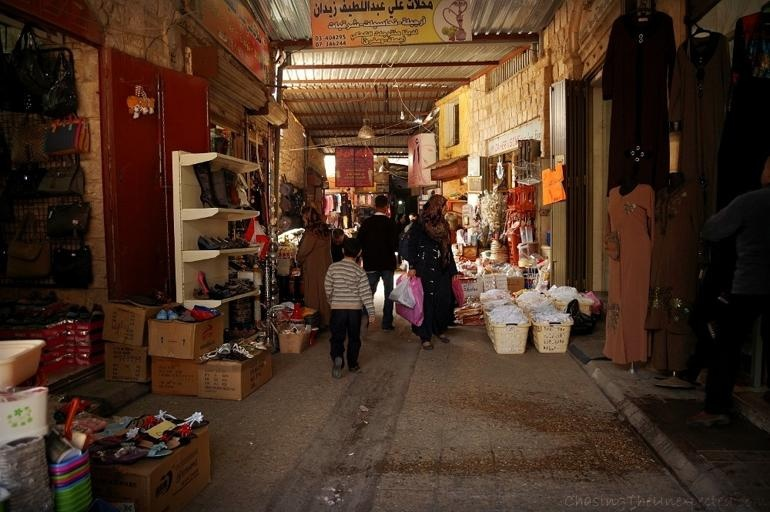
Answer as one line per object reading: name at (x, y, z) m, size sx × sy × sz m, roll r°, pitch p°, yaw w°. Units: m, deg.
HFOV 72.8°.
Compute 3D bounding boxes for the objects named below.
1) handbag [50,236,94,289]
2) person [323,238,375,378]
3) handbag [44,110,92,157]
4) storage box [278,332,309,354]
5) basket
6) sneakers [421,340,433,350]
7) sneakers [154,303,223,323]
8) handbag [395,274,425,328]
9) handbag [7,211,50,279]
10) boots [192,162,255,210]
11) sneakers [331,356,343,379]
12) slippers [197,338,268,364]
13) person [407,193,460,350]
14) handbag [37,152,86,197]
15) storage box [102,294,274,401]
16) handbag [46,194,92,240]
handbag at (-3.951, 0.092, 6.642) m, size 0.642 × 0.878 × 0.174 m, roll 0°, pitch 0°, yaw -2°
person at (-0.446, 0.689, 6.692) m, size 0.595 × 1.740 × 0.851 m, roll -2°, pitch 14°, yaw -5°
handbag at (-3.954, -1.549, 6.572) m, size 0.539 × 0.554 × 0.189 m, roll -2°, pitch -4°, yaw 11°
storage box at (-1.350, 1.260, 7.652) m, size 0.307 × 0.201 × 0.315 m, roll 0°, pitch 1°, yaw 2°
basket at (2.115, 0.928, 7.514) m, size 1.090 × 0.386 × 1.118 m, roll -1°, pitch 6°, yaw 1°
sneakers at (0.630, 1.304, 7.726) m, size 0.190 × 0.137 × 0.276 m, roll 0°, pitch 15°, yaw 3°
sneakers at (-2.299, 0.676, 6.042) m, size 0.373 × 0.128 × 0.282 m, roll -1°, pitch 1°, yaw 28°
handbag at (0.359, 0.684, 7.696) m, size 0.413 × 0.778 × 0.317 m, roll 0°, pitch 14°, yaw 5°
handbag at (-4.586, -0.139, 6.775) m, size 0.539 × 0.797 × 0.499 m, roll -4°, pitch 15°, yaw -13°
boots at (-2.179, -0.923, 6.975) m, size 0.385 × 0.699 × 0.964 m, roll 1°, pitch 15°, yaw 7°
sneakers at (-0.600, 1.397, 6.554) m, size 0.108 × 0.247 × 0.102 m, roll 2°, pitch -11°, yaw 1°
slippers at (-1.799, 1.126, 6.116) m, size 0.369 × 0.139 × 0.451 m, roll 1°, pitch 3°, yaw 9°
person at (0.646, 0.211, 7.806) m, size 0.573 × 2.179 × 0.792 m, roll 10°, pitch 18°, yaw 38°
handbag at (-4.074, -1.024, 6.637) m, size 0.533 × 0.543 × 0.225 m, roll -1°, pitch -4°, yaw 15°
storage box at (-2.303, 1.035, 6.188) m, size 1.525 × 0.989 × 1.019 m, roll 0°, pitch 2°, yaw 3°
handbag at (-3.972, -0.484, 6.623) m, size 0.524 × 0.529 × 0.179 m, roll -2°, pitch -6°, yaw 6°
